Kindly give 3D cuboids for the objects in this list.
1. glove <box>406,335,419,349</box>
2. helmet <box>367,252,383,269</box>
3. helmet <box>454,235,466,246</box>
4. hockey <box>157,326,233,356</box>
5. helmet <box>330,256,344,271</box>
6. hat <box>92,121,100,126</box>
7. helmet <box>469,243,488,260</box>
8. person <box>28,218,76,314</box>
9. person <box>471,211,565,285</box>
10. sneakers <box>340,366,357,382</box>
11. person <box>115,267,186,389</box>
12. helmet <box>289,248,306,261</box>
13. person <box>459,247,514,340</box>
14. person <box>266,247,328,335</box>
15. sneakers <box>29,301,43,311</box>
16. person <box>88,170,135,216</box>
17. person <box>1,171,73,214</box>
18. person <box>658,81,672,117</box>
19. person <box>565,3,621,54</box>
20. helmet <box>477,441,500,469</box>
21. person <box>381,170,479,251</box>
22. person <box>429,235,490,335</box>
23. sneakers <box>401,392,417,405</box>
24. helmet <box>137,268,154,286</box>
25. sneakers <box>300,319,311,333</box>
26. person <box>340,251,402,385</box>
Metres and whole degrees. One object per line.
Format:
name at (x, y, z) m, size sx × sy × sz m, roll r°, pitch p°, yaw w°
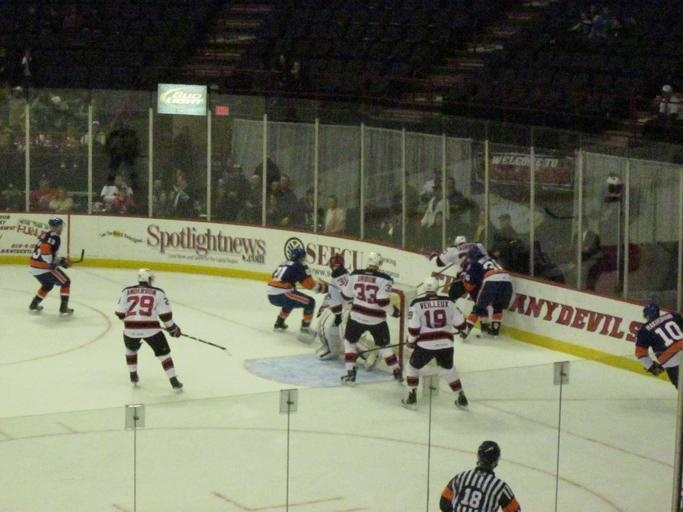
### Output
glove at (0.901, 1.116, 12.903) m, size 0.151 × 0.143 × 0.129 m, roll -2°, pitch 16°, yaw -6°
helmet at (0.448, 0.060, 14.229) m, size 0.183 × 0.209 × 0.232 m, roll 3°, pitch 3°, yaw 12°
helmet at (1.915, -0.256, 16.209) m, size 0.189 × 0.186 × 0.142 m, roll 20°, pitch -5°, yaw -40°
hockey at (-2.234, 1.290, 14.898) m, size 1.600 × 0.244 × 0.135 m, roll 14°, pitch -8°, yaw 29°
helmet at (-0.127, 0.087, 15.080) m, size 0.182 × 0.240 × 0.242 m, roll 4°, pitch 14°, yaw 13°
hat at (-5.126, -2.774, 20.652) m, size 0.086 × 0.104 × 0.025 m, roll 20°, pitch 9°, yaw 10°
helmet at (2.165, -0.077, 15.786) m, size 0.219 × 0.276 × 0.277 m, roll 2°, pitch 1°, yaw 39°
person at (-4.957, 0.178, 16.725) m, size 0.721 × 1.517 × 1.127 m, roll -4°, pitch 13°, yaw -17°
person at (2.756, -0.082, 15.863) m, size 0.514 × 0.634 × 1.727 m, roll -14°, pitch 24°, yaw -15°
sneakers at (0.041, 1.597, 13.446) m, size 0.133 × 0.241 × 0.255 m, roll -1°, pitch 8°, yaw -32°
person at (-2.654, 0.996, 13.618) m, size 0.833 × 1.591 × 0.844 m, roll -3°, pitch 13°, yaw -10°
helmet at (-0.749, -0.043, 15.808) m, size 0.244 × 0.217 × 0.196 m, roll 20°, pitch 4°, yaw 3°
person at (2.284, 0.609, 15.556) m, size 0.754 × 1.384 × 0.692 m, roll 2°, pitch 13°, yaw 9°
person at (-0.808, 0.553, 16.075) m, size 0.993 × 1.387 × 0.860 m, roll 2°, pitch 4°, yaw -27°
sneakers at (-5.158, 0.835, 16.751) m, size 0.257 × 0.172 × 0.106 m, roll -10°, pitch 27°, yaw -39°
person at (-4.763, -1.321, 20.621) m, size 0.891 × 0.819 × 0.241 m, roll 2°, pitch 13°, yaw 10°
person at (-6.380, -1.322, 20.632) m, size 1.502 × 0.760 × 0.280 m, roll 1°, pitch 13°, yaw 6°
person at (5.810, -2.841, 17.898) m, size 0.220 × 0.490 × 2.021 m, roll 3°, pitch 13°, yaw 17°
person at (5.461, -4.952, 21.427) m, size 0.442 × 0.846 × 1.137 m, roll -6°, pitch 14°, yaw -25°
helmet at (1.457, 1.959, 9.900) m, size 0.207 × 0.243 × 0.258 m, roll 6°, pitch 32°, yaw 8°
person at (1.545, -0.783, 16.863) m, size 0.676 × 1.566 × 1.279 m, roll 10°, pitch -1°, yaw -26°
person at (1.867, 0.261, 16.273) m, size 0.883 × 1.177 × 0.780 m, roll 5°, pitch 18°, yaw 1°
sneakers at (0.721, 1.515, 10.746) m, size 0.104 × 0.188 × 0.195 m, roll -4°, pitch 17°, yaw -17°
helmet at (-2.719, 0.297, 13.643) m, size 0.257 × 0.262 × 0.200 m, roll -5°, pitch 16°, yaw -17°
sneakers at (-0.591, 1.094, 15.708) m, size 0.171 × 0.212 × 0.217 m, roll -1°, pitch 12°, yaw -5°
person at (0.404, 0.902, 13.784) m, size 0.831 × 1.661 × 1.184 m, roll 0°, pitch 12°, yaw 0°
